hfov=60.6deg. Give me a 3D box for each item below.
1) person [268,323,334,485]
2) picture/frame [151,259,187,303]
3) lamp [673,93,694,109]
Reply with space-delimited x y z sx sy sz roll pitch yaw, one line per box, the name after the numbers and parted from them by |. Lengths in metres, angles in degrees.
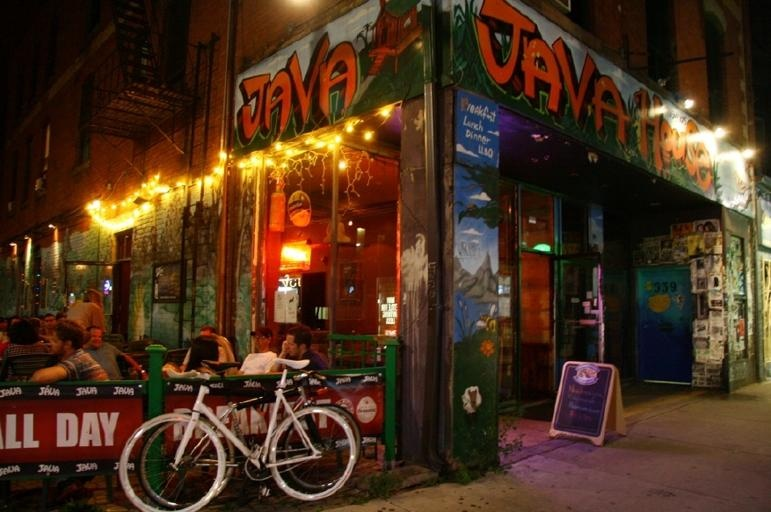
-1.307 2.385 10.235 1.140 2.185 0.973 23 -43 -36 | person
-5.127 0.600 15.763 0.129 0.844 0.925 7 -9 -43 | picture/frame
6.856 -3.528 15.134 0.437 0.294 0.460 11 10 23 | lamp
